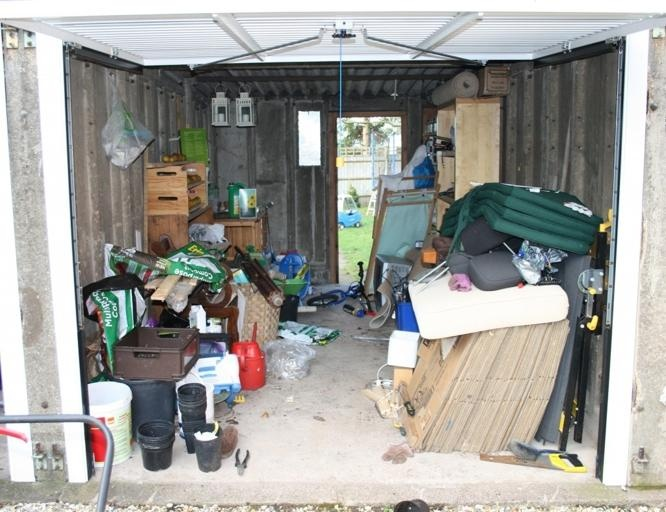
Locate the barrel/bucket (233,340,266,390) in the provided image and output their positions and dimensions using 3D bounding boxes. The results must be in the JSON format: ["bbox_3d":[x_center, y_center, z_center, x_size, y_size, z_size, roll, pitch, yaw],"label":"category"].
[{"bbox_3d":[-0.730,0.978,5.486,0.259,0.416,0.432,1,10,8],"label":"barrel/bucket"}]

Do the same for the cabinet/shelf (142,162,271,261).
[{"bbox_3d":[-1.583,-0.511,6.627,0.967,0.893,1.862,2,9,0],"label":"cabinet/shelf"}]

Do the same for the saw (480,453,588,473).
[{"bbox_3d":[1.421,1.465,4.387,0.718,0.039,0.221,1,11,9],"label":"saw"}]

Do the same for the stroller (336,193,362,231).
[{"bbox_3d":[0.397,-1.254,17.477,0.834,0.888,1.206,-1,4,18],"label":"stroller"}]

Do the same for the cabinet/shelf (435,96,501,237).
[{"bbox_3d":[1.443,-1.212,6.672,0.381,0.943,0.670,4,10,2],"label":"cabinet/shelf"}]

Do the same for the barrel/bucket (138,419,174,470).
[{"bbox_3d":[-1.234,1.341,4.339,0.248,0.284,0.233,-1,11,0],"label":"barrel/bucket"}]

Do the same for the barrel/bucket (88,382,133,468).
[{"bbox_3d":[-1.594,1.206,4.468,0.290,0.493,0.472,-5,11,-19],"label":"barrel/bucket"}]
